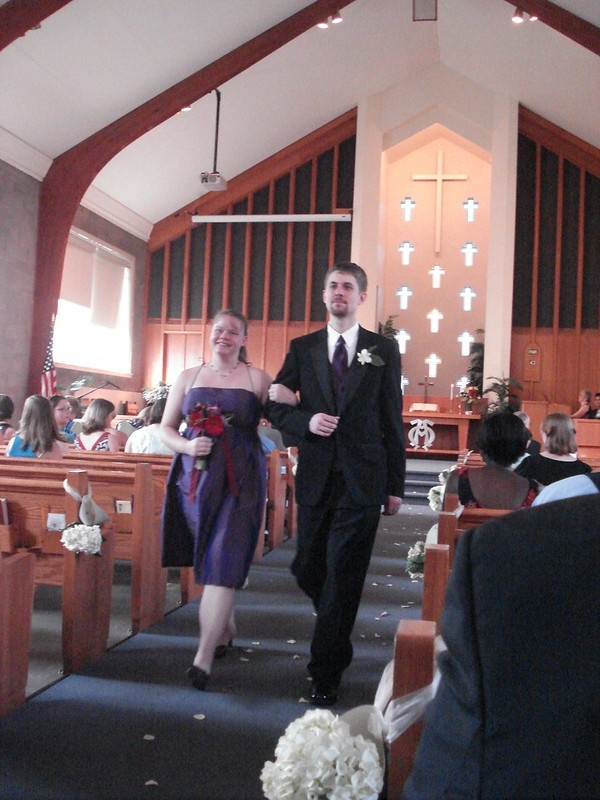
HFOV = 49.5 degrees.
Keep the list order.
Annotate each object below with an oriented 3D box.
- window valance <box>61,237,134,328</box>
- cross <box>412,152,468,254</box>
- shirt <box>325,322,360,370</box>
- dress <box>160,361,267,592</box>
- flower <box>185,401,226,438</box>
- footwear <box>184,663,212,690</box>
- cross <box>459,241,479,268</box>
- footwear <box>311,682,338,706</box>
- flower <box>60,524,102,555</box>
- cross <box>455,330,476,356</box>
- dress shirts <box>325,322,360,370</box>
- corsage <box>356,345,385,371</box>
[{"bbox_3d":[-3.755,-2.170,11.925,0.154,1.179,1.974,9,-6,14],"label":"window valance"},{"bbox_3d":[2.895,-4.061,13.437,1.140,2.123,0.147,1,1,5],"label":"cross"},{"bbox_3d":[0.154,-0.191,2.350,0.114,0.151,0.062,3,-7,-1],"label":"shirt"},{"bbox_3d":[-0.325,0.308,2.473,0.391,0.754,0.291,0,1,-8],"label":"dress"},{"bbox_3d":[-0.344,0.080,2.395,0.130,0.076,0.122,14,-13,11],"label":"flower"},{"bbox_3d":[-0.351,0.952,2.252,0.079,0.077,0.034,17,3,29],"label":"footwear"},{"bbox_3d":[3.497,-2.979,13.410,0.315,0.471,0.086,1,1,11],"label":"cross"},{"bbox_3d":[0.084,0.961,2.133,0.087,0.079,0.049,0,2,4],"label":"footwear"},{"bbox_3d":[-0.796,0.510,2.385,0.124,0.067,0.120,17,32,-20],"label":"flower"},{"bbox_3d":[3.404,-1.145,13.364,0.344,0.516,0.119,1,1,12],"label":"cross"},{"bbox_3d":[0.154,-0.197,2.400,0.114,0.151,0.062,3,-7,-1],"label":"dress shirts"},{"bbox_3d":[0.253,-0.158,2.277,0.080,0.069,0.029,4,-18,0],"label":"corsage"}]
